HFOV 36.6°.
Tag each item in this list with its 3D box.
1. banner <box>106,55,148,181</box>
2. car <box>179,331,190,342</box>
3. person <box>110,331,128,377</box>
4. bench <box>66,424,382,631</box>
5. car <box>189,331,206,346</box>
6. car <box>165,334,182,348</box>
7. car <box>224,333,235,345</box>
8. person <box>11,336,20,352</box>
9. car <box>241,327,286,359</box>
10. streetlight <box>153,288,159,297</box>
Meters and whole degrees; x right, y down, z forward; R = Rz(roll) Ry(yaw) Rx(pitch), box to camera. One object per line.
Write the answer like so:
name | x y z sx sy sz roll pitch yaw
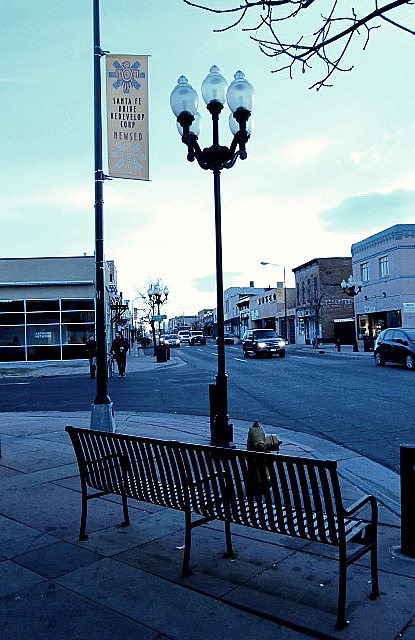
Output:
banner | -1.121 -2.836 8.798 0.634 1.758 0.023 -1 5 -7
car | -2.925 2.314 80.404 1.122 1.081 2.709 -1 -4 -6
person | -3.034 1.243 22.006 0.555 1.604 1.492 -1 0 -9
bench | 0.024 1.227 4.286 2.384 1.193 0.895 -2 -1 44
car | -1.397 2.309 77.799 1.170 1.186 2.298 0 -10 -8
car | -3.482 2.171 64.014 1.017 1.012 2.362 -1 -6 -7
car | 2.485 2.292 70.021 0.971 0.989 1.791 -1 -11 -6
person | -10.195 1.381 33.640 0.621 0.765 0.634 -4 -4 43
car | 2.950 1.357 33.858 1.173 1.284 2.695 0 -4 -17
streetlight | -2.776 -1.474 34.703 0.278 0.471 0.540 -1 -1 -8
